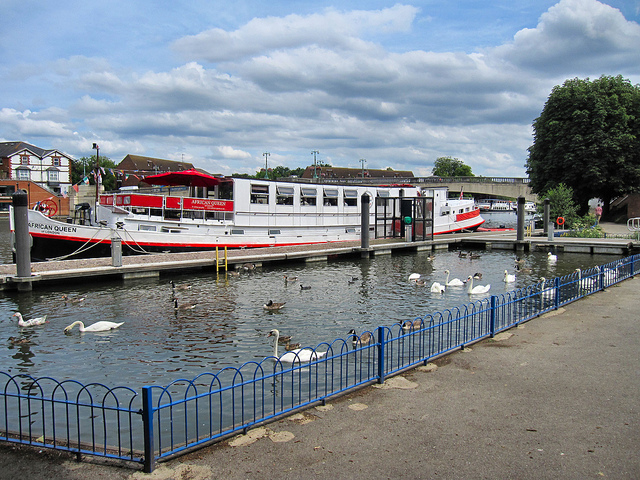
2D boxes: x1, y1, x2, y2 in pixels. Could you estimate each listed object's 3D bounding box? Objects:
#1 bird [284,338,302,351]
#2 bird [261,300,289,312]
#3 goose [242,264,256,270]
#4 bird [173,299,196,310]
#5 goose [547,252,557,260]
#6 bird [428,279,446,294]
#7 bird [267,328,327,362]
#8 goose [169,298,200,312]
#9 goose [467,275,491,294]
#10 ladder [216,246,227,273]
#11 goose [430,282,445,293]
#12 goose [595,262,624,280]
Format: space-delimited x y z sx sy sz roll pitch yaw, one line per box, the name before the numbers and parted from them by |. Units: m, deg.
bird | -0.806 3.182 19.721 0.439 0.244 0.218 5 -8 -2
bird | -1.787 2.552 25.014 0.798 0.350 0.369 -1 -5 1
goose | -3.803 1.448 35.049 0.573 0.207 0.687 0 6 -1
bird | -5.165 2.433 25.004 0.473 0.417 0.994 6 9 42
goose | 13.671 0.959 38.821 0.531 0.401 0.654 2 2 -11
bird | 5.019 2.119 28.179 0.449 0.405 0.707 -6 -15 42
bird | -0.659 3.061 18.811 1.922 0.904 0.677 4 -3 -33
goose | -5.208 2.562 25.156 1.105 0.566 0.369 3 -7 -23
goose | 6.611 1.926 27.778 0.585 0.676 0.984 5 8 35
ladder | -5.080 1.053 34.117 0.564 1.270 1.013 -1 7 -8
goose | 5.015 2.056 28.072 0.428 0.310 0.525 2 7 3
goose | 11.699 1.303 26.521 0.248 0.561 2.461 6 9 39
